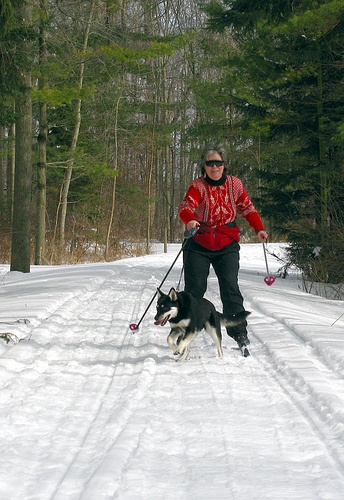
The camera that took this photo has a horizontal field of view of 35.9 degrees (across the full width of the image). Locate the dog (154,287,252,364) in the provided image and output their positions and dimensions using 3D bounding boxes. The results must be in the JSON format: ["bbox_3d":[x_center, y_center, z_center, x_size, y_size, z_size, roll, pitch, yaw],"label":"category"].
[{"bbox_3d":[0.298,0.746,5.045,1.193,0.670,0.320,8,-9,-39],"label":"dog"}]

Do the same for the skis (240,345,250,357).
[{"bbox_3d":[0.688,0.948,4.973,0.050,0.099,0.062,-34,40,-21],"label":"skis"}]
